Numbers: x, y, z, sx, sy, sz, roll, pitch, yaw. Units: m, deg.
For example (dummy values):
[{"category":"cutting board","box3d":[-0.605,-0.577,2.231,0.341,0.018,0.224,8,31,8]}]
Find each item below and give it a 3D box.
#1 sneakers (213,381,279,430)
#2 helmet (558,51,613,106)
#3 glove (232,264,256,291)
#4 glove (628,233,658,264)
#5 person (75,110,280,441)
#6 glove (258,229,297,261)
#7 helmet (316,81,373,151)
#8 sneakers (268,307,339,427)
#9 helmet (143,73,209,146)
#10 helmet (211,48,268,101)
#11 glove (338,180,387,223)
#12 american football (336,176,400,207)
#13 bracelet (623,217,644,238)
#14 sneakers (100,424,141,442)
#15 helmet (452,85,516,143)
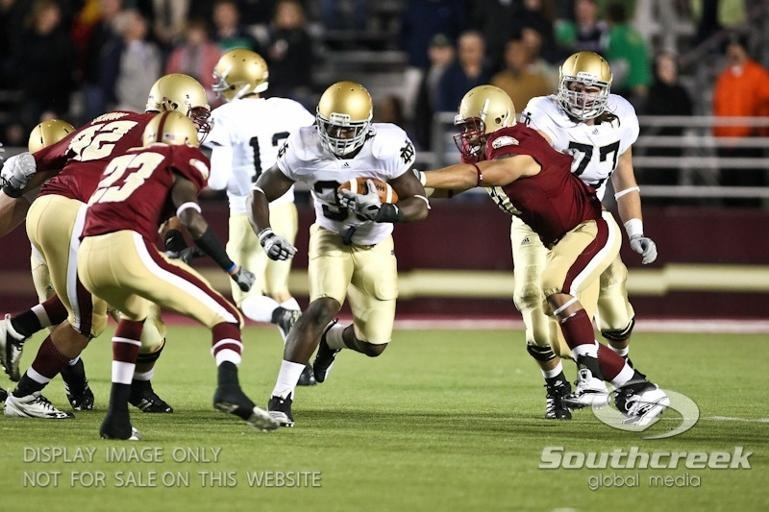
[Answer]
[{"category":"sneakers","box3d":[-0.811,0.885,5.686,0.357,0.109,0.166,36,32,-18]},{"category":"helmet","box3d":[1.335,-1.150,6.529,0.336,0.437,0.452,8,14,6]},{"category":"glove","box3d":[-0.798,0.126,5.532,0.137,0.119,0.057,40,-28,-15]},{"category":"glove","box3d":[2.000,-0.066,7.561,0.161,0.167,0.289,33,-4,-19]},{"category":"person","box3d":[-1.195,0.120,5.530,1.011,1.847,0.493,2,6,13]},{"category":"glove","box3d":[-0.643,-0.056,5.828,0.211,0.098,0.177,40,0,31]},{"category":"helmet","box3d":[-0.248,-0.863,5.978,0.322,0.396,0.455,10,27,9]},{"category":"sneakers","box3d":[-0.513,0.729,6.310,0.184,0.635,0.268,29,-7,-41]},{"category":"helmet","box3d":[-1.334,-0.964,6.303,0.418,0.363,0.333,7,33,-18]},{"category":"helmet","box3d":[-1.071,-1.354,7.206,0.440,0.365,0.335,-1,18,11]},{"category":"glove","box3d":[-0.128,-0.315,5.761,0.269,0.135,0.221,29,56,5]},{"category":"american football","box3d":[-0.094,-0.391,5.707,0.276,0.181,0.160,6,17,3]},{"category":"bracelet","box3d":[1.680,-0.186,6.601,0.121,0.132,0.115,-6,-11,4]},{"category":"sneakers","box3d":[-1.507,1.008,5.553,0.205,0.091,0.091,0,3,-8]},{"category":"helmet","box3d":[0.696,-0.999,6.739,0.432,0.381,0.328,-15,10,-7]}]
